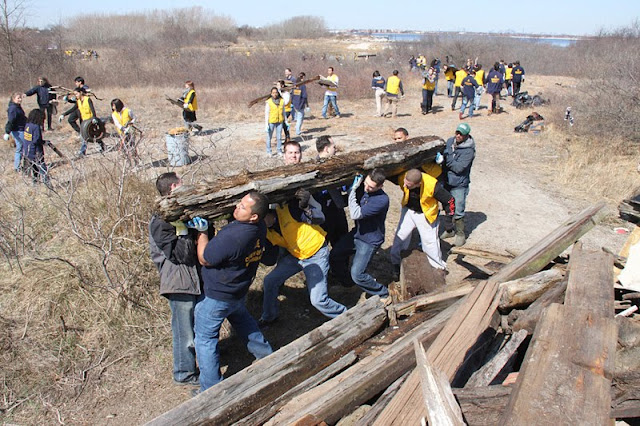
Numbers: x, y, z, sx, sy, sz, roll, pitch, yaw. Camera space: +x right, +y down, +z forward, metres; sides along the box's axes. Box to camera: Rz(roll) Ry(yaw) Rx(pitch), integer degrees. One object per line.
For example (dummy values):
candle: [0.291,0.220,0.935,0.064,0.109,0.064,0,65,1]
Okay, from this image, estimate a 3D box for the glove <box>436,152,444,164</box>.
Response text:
glove: [2.184,-1.015,8.490,0.149,0.215,0.076,3,-3,-14]

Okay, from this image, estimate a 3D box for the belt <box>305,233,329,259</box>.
belt: [-0.120,0.479,6.939,0.378,0.257,0.305,-44,12,-2]

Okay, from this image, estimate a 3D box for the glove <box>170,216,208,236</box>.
glove: [-1.696,0.164,6.016,0.266,0.154,0.357,18,18,42]
